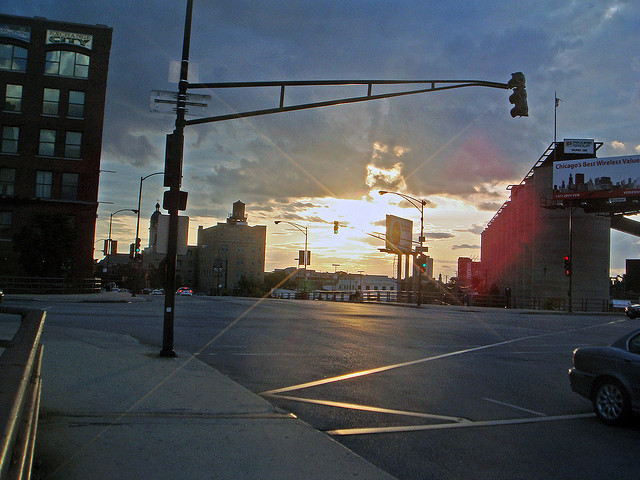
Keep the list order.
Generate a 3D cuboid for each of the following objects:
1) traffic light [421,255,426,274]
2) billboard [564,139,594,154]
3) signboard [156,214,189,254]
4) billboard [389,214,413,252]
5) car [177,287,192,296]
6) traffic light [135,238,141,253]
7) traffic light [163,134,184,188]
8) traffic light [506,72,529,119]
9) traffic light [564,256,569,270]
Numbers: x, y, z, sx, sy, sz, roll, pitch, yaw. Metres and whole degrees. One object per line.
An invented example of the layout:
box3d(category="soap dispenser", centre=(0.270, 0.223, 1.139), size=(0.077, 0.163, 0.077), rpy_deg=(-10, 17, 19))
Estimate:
box3d(category="traffic light", centre=(9.550, 2.094, 52.764), size=(0.298, 1.347, 1.974), rpy_deg=(1, -2, 15))
box3d(category="billboard", centre=(33.936, -12.322, 74.488), size=(3.476, 1.768, 2.788), rpy_deg=(1, -2, 16))
box3d(category="signboard", centre=(-3.320, -0.125, 12.768), size=(0.664, 0.924, 0.046), rpy_deg=(3, 22, -19))
box3d(category="billboard", centre=(11.169, -0.689, 77.959), size=(0.550, 4.596, 7.189), rpy_deg=(0, 5, -19))
box3d(category="car", centre=(-19.635, 7.842, 82.627), size=(1.528, 1.105, 2.281), rpy_deg=(2, 4, -19))
box3d(category="traffic light", centre=(-14.044, 0.432, 43.768), size=(0.327, 1.111, 1.035), rpy_deg=(2, -2, -19))
box3d(category="traffic light", centre=(-3.298, -1.888, 13.022), size=(0.437, 0.370, 1.549), rpy_deg=(-8, -38, -22))
box3d(category="traffic light", centre=(5.582, -4.077, 16.095), size=(0.522, 1.407, 1.040), rpy_deg=(1, -2, 18))
box3d(category="traffic light", centre=(20.655, 1.914, 47.699), size=(0.295, 1.048, 0.784), rpy_deg=(0, -2, 23))
